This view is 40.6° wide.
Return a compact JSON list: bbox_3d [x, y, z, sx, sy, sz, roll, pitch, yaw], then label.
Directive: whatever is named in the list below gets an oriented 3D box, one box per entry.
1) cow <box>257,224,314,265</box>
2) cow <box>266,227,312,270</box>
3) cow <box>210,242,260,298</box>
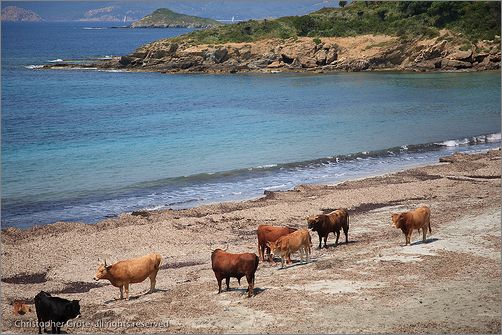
[{"bbox_3d":[2.395,6.302,54.285,4.671,3.428,2.956,-6,9,-22],"label":"cow"},{"bbox_3d":[3.262,6.344,53.553,3.252,2.915,0.768,-4,10,-6],"label":"cow"},{"bbox_3d":[-2.408,7.609,51.471,4.849,3.015,2.208,3,1,26],"label":"cow"}]
